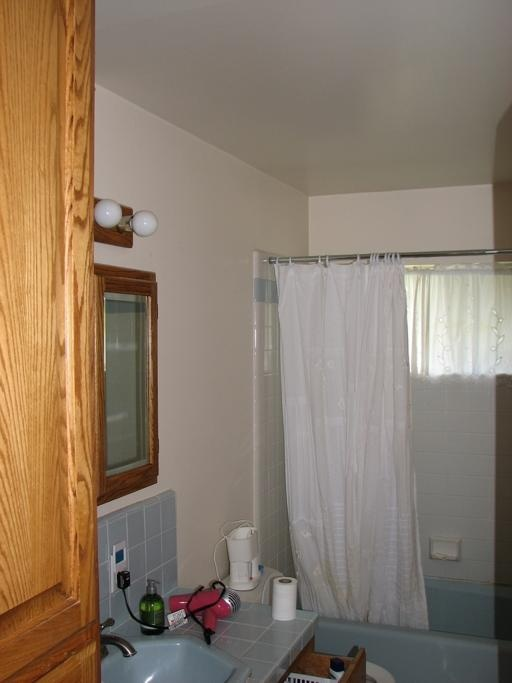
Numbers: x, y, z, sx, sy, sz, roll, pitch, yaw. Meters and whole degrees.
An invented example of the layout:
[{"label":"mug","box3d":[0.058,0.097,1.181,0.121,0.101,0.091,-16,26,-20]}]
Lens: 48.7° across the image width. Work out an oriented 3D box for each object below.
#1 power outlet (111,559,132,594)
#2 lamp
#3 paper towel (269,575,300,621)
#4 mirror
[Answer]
[{"label":"power outlet","box3d":[-0.404,0.701,1.693,0.011,0.134,0.103,-9,-10,15]},{"label":"lamp","box3d":[-0.389,-0.342,1.647,0.141,0.166,0.196,-2,-3,25]},{"label":"paper towel","box3d":[0.088,0.813,1.815,0.082,0.120,0.094,2,-5,-14]},{"label":"mirror","box3d":[-0.395,0.130,1.783,0.031,0.672,0.423,-1,0,14]}]
